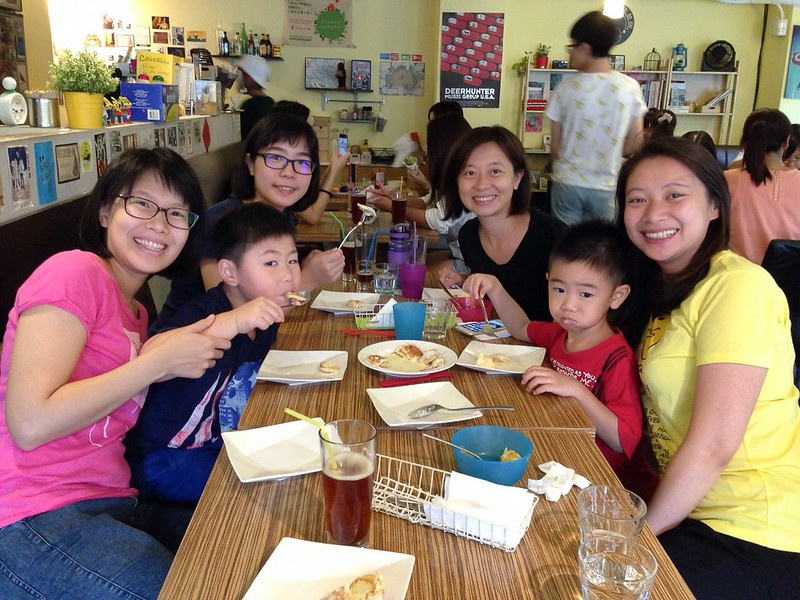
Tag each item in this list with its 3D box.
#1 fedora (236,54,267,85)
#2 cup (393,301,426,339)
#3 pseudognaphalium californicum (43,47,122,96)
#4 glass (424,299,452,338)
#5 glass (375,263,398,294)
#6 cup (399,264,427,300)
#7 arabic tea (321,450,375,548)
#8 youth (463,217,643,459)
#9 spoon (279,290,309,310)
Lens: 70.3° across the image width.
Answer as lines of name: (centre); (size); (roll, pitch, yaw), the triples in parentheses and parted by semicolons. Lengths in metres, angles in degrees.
fedora: (-1.525, -2.405, 5.965); (0.225, 0.317, 0.442); (3, 19, 6)
cup: (0.031, 0.064, 1.812); (0.101, 0.122, 0.110); (1, 2, 0)
pseudognaphalium californicum: (-1.308, -0.934, 2.337); (0.235, 0.159, 0.158); (-7, 21, -23)
glass: (0.144, 0.070, 1.998); (0.115, 0.124, 0.110); (2, 2, -26)
glass: (-0.059, -0.085, 2.396); (0.109, 0.125, 0.110); (4, 11, 0)
cup: (0.052, -0.070, 2.348); (0.125, 0.149, 0.127); (2, 17, -1)
arabic tea: (-0.093, 0.364, 1.066); (0.131, 0.228, 0.138); (0, 3, 0)
youth: (0.519, 0.394, 1.971); (0.546, 1.214, 0.458); (2, 4, 34)
spoon: (-0.370, 0.002, 1.969); (0.054, 0.051, 0.033); (-27, 45, -26)
